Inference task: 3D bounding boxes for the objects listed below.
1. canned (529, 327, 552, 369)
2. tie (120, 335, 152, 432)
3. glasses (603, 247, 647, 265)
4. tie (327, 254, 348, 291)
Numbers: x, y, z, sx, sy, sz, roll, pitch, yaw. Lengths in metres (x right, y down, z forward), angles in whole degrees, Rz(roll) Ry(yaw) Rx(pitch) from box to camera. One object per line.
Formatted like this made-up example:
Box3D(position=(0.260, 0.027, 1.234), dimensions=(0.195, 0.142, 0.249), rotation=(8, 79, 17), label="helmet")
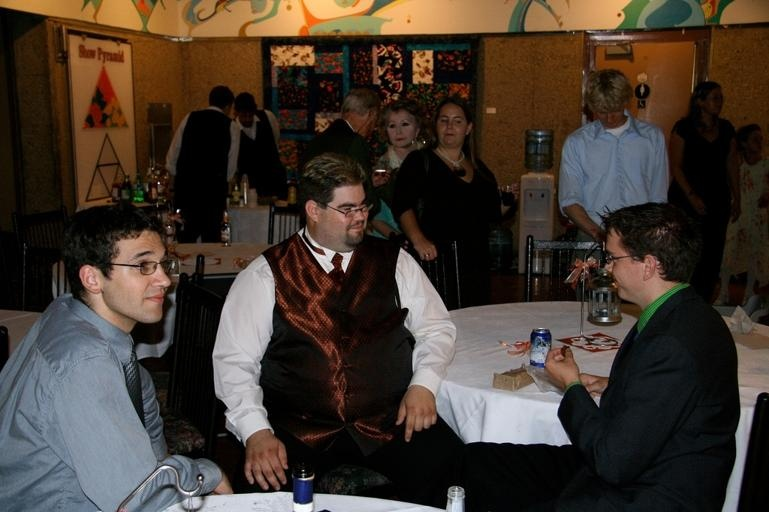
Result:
Box3D(position=(0.679, 0.401, 2.736), dimensions=(0.089, 0.167, 0.089), rotation=(-5, 14, -10), label="canned")
Box3D(position=(-0.866, 0.442, 2.154), dimensions=(0.053, 0.109, 0.405), rotation=(0, -32, -11), label="tie")
Box3D(position=(0.870, 0.006, 2.251), dimensions=(0.097, 0.031, 0.096), rotation=(3, 7, 4), label="glasses")
Box3D(position=(-0.205, 0.068, 2.660), dimensions=(0.069, 0.180, 0.020), rotation=(-5, -36, 7), label="tie")
